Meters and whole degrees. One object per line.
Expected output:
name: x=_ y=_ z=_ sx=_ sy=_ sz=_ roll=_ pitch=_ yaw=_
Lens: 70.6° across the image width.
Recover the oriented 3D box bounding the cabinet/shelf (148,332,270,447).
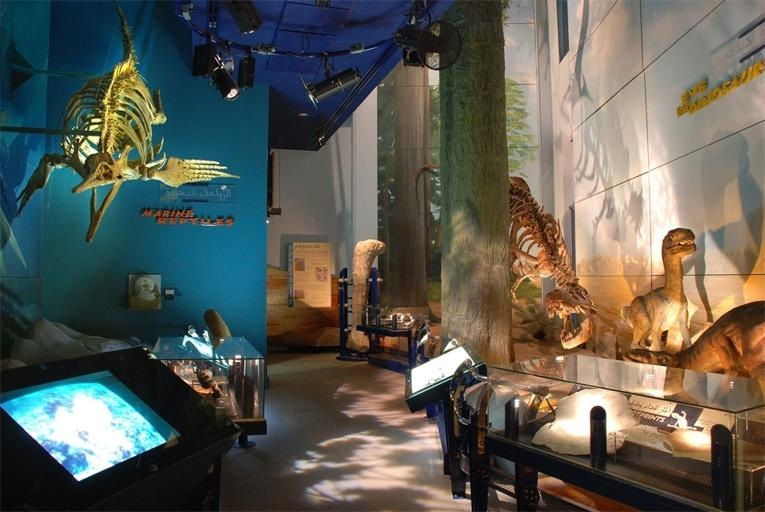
cabinet/shelf: x=-1.644 y=1.380 z=5.163 sx=0.994 sy=1.069 sz=1.276 roll=3 pitch=-6 yaw=-28

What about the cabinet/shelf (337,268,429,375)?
cabinet/shelf: x=-0.179 y=1.287 z=9.603 sx=1.162 sy=1.884 sz=1.956 roll=1 pitch=-2 yaw=-39
